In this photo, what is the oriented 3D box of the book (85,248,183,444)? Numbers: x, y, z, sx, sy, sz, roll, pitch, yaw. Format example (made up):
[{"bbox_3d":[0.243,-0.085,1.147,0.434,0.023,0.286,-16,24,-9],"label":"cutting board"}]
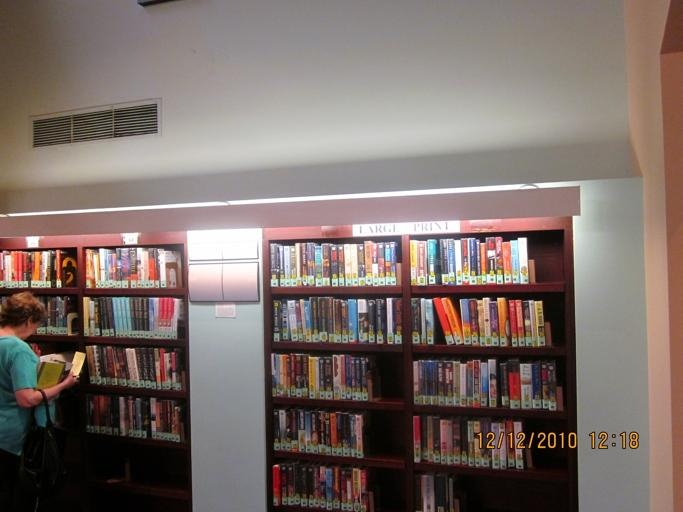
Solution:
[{"bbox_3d":[-1.449,0.621,3.994,0.849,1.378,0.113,-3,-4,16],"label":"book"}]
